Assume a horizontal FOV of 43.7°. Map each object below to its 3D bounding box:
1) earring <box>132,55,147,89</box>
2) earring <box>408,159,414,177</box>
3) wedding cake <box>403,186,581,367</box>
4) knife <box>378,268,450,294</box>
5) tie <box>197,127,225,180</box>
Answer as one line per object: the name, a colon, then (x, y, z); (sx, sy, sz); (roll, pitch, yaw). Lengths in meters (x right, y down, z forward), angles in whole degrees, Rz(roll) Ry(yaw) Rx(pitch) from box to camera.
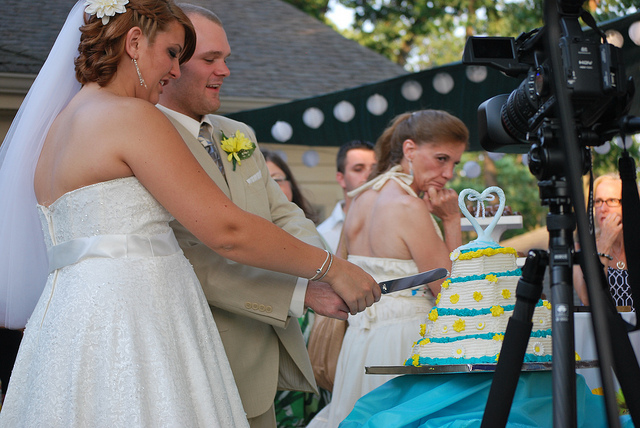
earring: (-0.808, -0.637, 3.628); (0.035, 0.177, 0.019); (-32, 19, -17)
earring: (0.564, -0.290, 4.979); (0.031, 0.105, 0.020); (-3, -5, 6)
wedding cake: (0.864, 0.286, 4.227); (0.888, 0.870, 0.890); (-2, -5, 10)
knife: (0.444, 0.319, 3.851); (0.333, 0.106, 0.116); (-4, -5, 8)
tie: (-0.561, -0.320, 4.124); (0.069, 0.224, 0.165); (-34, -4, 15)
